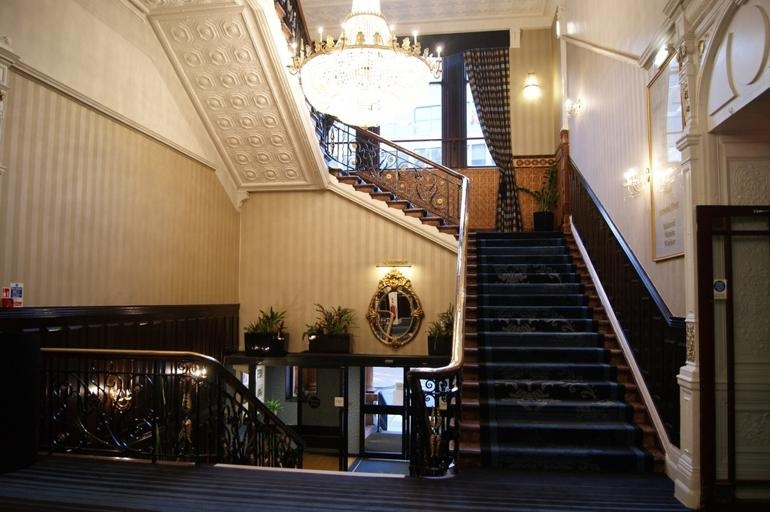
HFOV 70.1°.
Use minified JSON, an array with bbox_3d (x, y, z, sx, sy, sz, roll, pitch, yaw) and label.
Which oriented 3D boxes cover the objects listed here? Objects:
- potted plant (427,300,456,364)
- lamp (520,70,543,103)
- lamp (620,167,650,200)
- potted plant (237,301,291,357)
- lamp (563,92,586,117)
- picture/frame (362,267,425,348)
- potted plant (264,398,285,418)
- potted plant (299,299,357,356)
[{"bbox_3d":[1.008,1.379,10.131,0.491,0.935,0.470,-1,-10,3],"label":"potted plant"},{"bbox_3d":[3.330,-3.896,12.491,0.455,0.668,0.504,-3,-10,16],"label":"lamp"},{"bbox_3d":[3.292,-0.948,7.187,0.282,0.446,0.334,2,-2,-27],"label":"lamp"},{"bbox_3d":[-2.311,1.529,10.664,0.738,0.980,0.621,3,-19,-8],"label":"potted plant"},{"bbox_3d":[3.505,-2.808,10.231,0.246,0.494,0.487,-1,9,42],"label":"lamp"},{"bbox_3d":[0.201,0.974,10.488,1.088,1.501,0.275,0,-10,-1],"label":"picture/frame"},{"bbox_3d":[-2.295,3.037,11.035,0.319,0.341,0.383,-6,-11,29],"label":"potted plant"},{"bbox_3d":[-1.081,1.378,10.441,0.913,0.865,0.831,-1,-10,4],"label":"potted plant"}]
